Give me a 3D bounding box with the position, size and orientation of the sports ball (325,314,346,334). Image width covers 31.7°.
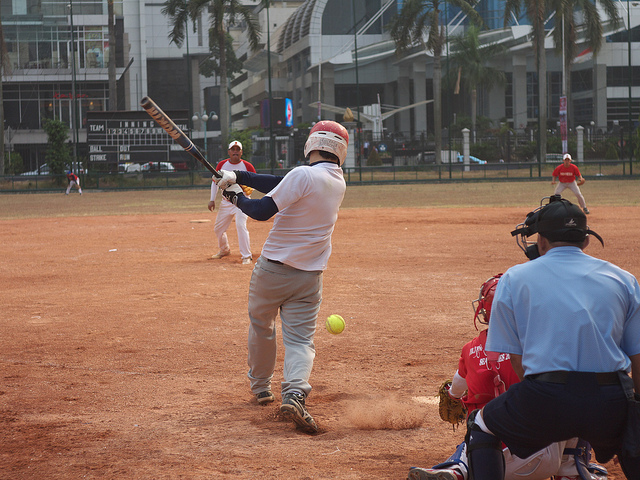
[{"bbox_3d":[0.475,2.763,35.206,0.519,0.575,0.551,-6,42,5],"label":"sports ball"}]

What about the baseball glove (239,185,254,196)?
[{"bbox_3d":[-2.535,-1.789,39.056,0.426,0.229,0.570,-7,16,-35],"label":"baseball glove"}]
